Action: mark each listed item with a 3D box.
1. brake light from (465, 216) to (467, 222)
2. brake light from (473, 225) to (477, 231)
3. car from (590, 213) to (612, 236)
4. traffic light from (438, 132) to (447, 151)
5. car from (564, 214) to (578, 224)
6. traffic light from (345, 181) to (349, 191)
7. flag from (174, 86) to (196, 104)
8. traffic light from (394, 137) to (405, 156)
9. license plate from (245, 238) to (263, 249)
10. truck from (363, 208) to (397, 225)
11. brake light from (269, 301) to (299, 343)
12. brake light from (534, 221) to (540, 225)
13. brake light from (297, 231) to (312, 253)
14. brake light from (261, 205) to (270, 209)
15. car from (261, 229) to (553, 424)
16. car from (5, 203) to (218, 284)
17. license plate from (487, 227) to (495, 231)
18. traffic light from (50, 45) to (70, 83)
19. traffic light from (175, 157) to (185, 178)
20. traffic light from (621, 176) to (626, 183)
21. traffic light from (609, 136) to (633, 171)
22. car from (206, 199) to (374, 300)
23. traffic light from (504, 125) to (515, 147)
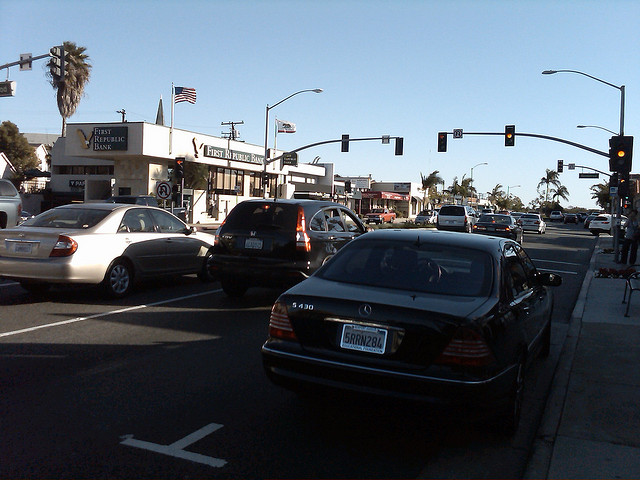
[{"bbox_3d":[9.487,-1.420,34.177,0.169,0.354,0.114,-4,-8,23],"label":"brake light"},{"bbox_3d":[8.921,-0.747,30.209,0.179,0.138,0.401,4,10,32],"label":"brake light"},{"bbox_3d":[23.335,-1.340,43.839,1.483,1.600,2.510,4,6,27],"label":"car"},{"bbox_3d":[8.585,-6.899,36.880,0.471,1.234,0.273,0,5,-14],"label":"traffic light"},{"bbox_3d":[37.515,-3.234,78.583,2.359,1.242,1.389,-2,7,-33],"label":"car"},{"bbox_3d":[2.402,-4.819,46.201,0.175,0.704,0.705,4,1,13],"label":"traffic light"},{"bbox_3d":[-10.413,-11.271,40.908,1.490,1.315,2.197,0,6,-17],"label":"flag"},{"bbox_3d":[5.928,-6.956,38.921,0.494,1.195,0.300,5,6,33],"label":"traffic light"},{"bbox_3d":[-1.213,0.039,9.745,0.352,0.199,0.084,4,6,25],"label":"license plate"},{"bbox_3d":[7.202,-3.007,62.919,1.843,1.447,4.245,0,-1,27],"label":"truck"},{"bbox_3d":[-0.337,0.758,4.982,0.212,0.181,0.380,0,-1,14],"label":"brake light"},{"bbox_3d":[17.591,-1.492,42.608,0.442,0.206,0.090,1,5,-6],"label":"brake light"},{"bbox_3d":[-0.265,0.014,9.577,0.267,0.373,0.143,1,5,-4],"label":"brake light"},{"bbox_3d":[-1.016,-0.640,9.914,0.159,0.073,0.035,2,5,4],"label":"brake light"},{"bbox_3d":[0.767,0.755,4.687,1.296,0.900,2.979,5,8,25],"label":"car"},{"bbox_3d":[-4.196,0.063,10.660,1.231,1.574,3.701,5,7,35],"label":"car"},{"bbox_3d":[9.110,-0.646,28.008,0.242,0.189,0.137,-2,-3,27],"label":"license plate"},{"bbox_3d":[-11.055,-7.529,22.389,0.698,1.340,0.697,16,15,40],"label":"traffic light"},{"bbox_3d":[-6.957,-3.607,26.201,0.395,0.941,0.743,0,5,-11],"label":"traffic light"},{"bbox_3d":[12.520,-2.529,21.742,0.110,0.201,0.173,-2,6,-32],"label":"traffic light"},{"bbox_3d":[12.247,-3.547,21.449,0.793,1.389,0.454,5,6,33],"label":"traffic light"},{"bbox_3d":[-0.201,0.039,10.976,1.549,1.372,3.601,0,4,28],"label":"car"},{"bbox_3d":[12.282,-6.754,34.066,0.519,1.342,1.349,3,6,23],"label":"traffic light"}]
